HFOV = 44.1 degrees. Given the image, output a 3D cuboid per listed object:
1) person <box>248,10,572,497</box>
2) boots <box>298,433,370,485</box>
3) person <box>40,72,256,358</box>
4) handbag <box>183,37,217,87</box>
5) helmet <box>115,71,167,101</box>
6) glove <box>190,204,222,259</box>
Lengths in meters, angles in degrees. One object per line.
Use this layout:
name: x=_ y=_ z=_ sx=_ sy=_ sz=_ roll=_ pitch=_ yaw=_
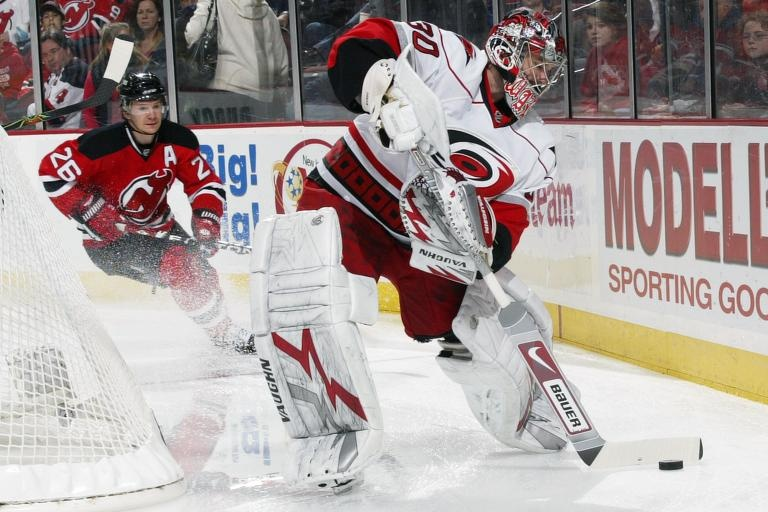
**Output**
person: x=0.120 y=-0.018 z=4.454 sx=1.459 sy=2.208 sz=0.749 roll=-2 pitch=10 yaw=7
boots: x=-0.246 y=0.921 z=4.387 sx=0.377 sy=0.224 sz=0.195 roll=-2 pitch=10 yaw=5
person: x=-1.645 y=-0.216 z=6.571 sx=1.441 sy=1.805 sz=0.886 roll=28 pitch=45 yaw=22
handbag: x=-1.520 y=-1.617 z=7.902 sx=0.139 sy=0.388 sz=0.280 roll=19 pitch=17 yaw=32
helmet: x=-1.598 y=-1.112 z=6.265 sx=0.242 sy=0.228 sz=0.193 roll=-11 pitch=27 yaw=-7
glove: x=-1.226 y=-0.180 z=6.531 sx=0.191 sy=0.326 sz=0.128 roll=3 pitch=4 yaw=-17
